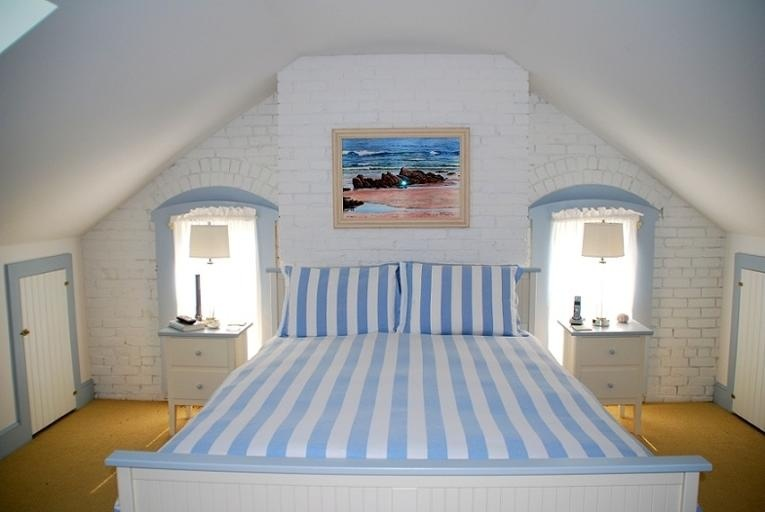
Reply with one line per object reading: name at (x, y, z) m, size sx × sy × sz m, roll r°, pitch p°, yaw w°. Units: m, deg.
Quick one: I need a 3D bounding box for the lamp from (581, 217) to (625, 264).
lamp at (1.857, -0.112, 5.042) m, size 0.385 × 0.322 × 0.341 m, roll 1°, pitch -2°, yaw -14°

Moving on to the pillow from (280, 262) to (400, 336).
pillow at (-0.297, 0.344, 4.447) m, size 0.690 × 0.359 × 0.100 m, roll -2°, pitch -31°, yaw 2°
